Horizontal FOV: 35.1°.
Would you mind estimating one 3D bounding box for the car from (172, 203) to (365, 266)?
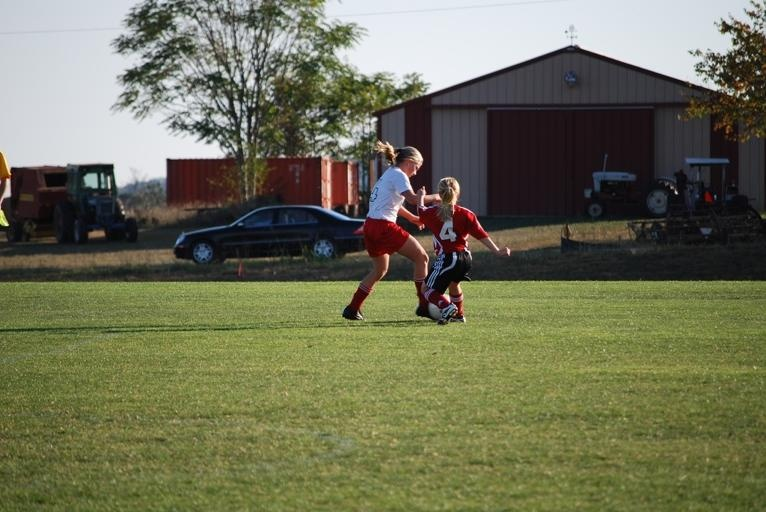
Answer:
[{"bbox_3d":[-2.740,-0.474,29.243,4.291,1.275,1.774,1,0,2],"label":"car"}]

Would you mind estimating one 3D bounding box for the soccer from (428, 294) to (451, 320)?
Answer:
[{"bbox_3d":[0.839,0.792,17.798,0.370,0.241,0.382,-8,-15,20],"label":"soccer"}]

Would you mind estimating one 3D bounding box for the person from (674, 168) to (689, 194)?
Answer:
[{"bbox_3d":[8.743,-2.138,35.673,0.366,0.685,0.920,0,3,13],"label":"person"}]

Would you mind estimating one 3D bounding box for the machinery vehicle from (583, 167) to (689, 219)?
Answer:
[{"bbox_3d":[7.511,-1.861,37.494,2.415,1.191,1.648,2,2,12],"label":"machinery vehicle"}]

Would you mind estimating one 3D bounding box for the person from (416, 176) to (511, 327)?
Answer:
[{"bbox_3d":[1.050,-0.096,17.951,1.071,2.106,0.898,-1,3,2],"label":"person"}]

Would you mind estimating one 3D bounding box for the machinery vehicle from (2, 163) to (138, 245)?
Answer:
[{"bbox_3d":[-9.167,-1.446,35.037,2.213,2.179,4.269,-1,0,-44],"label":"machinery vehicle"}]

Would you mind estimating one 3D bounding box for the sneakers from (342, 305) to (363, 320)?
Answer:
[{"bbox_3d":[-0.418,0.856,17.992,0.362,0.181,0.139,4,5,-42],"label":"sneakers"}]
